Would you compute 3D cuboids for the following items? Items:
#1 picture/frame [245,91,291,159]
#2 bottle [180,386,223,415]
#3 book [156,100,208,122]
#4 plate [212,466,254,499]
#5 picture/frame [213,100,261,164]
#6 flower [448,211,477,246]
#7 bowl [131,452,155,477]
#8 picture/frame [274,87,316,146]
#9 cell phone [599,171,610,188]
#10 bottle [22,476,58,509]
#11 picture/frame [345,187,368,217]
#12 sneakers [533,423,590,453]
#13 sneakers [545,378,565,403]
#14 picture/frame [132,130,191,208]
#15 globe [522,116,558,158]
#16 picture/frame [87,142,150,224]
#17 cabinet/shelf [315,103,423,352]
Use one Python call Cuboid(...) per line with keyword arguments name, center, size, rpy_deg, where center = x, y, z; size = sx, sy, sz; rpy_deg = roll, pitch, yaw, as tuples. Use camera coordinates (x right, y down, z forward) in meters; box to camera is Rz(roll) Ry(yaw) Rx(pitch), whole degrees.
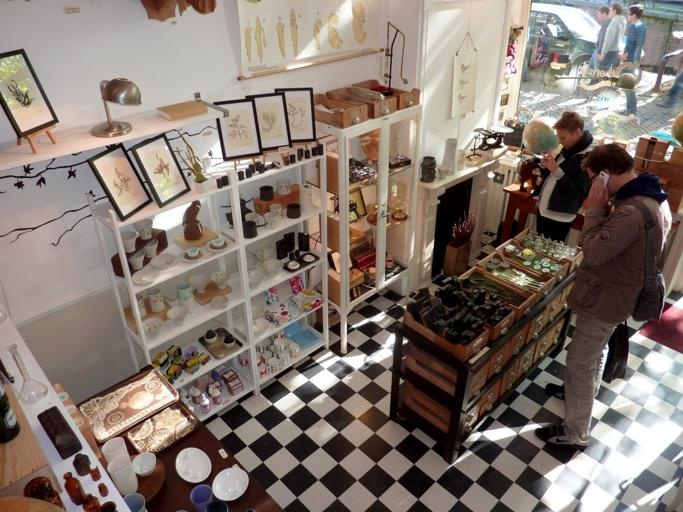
Cuboid(name="picture/frame", center=(-0.659, -1.177, 4.146), size=(0.528, 0.610, 0.033), rpy_deg=(-21, 36, -20))
Cuboid(name="bottle", center=(-1.337, 1.275, 4.440), size=(0.319, 0.132, 0.315), rpy_deg=(5, 37, -4))
Cuboid(name="book", center=(-1.221, -1.123, 3.630), size=(0.343, 0.057, 0.285), rpy_deg=(-25, 41, -29))
Cuboid(name="plate", center=(-0.739, 1.510, 3.112), size=(0.217, 0.069, 0.227), rpy_deg=(20, 41, 29))
Cuboid(name="picture/frame", center=(-0.895, -1.087, 4.038), size=(0.454, 0.586, 0.045), rpy_deg=(-17, 35, -18))
Cuboid(name="flower", center=(1.579, -0.369, 6.167), size=(0.268, 0.303, 0.268), rpy_deg=(-31, 48, -15))
Cuboid(name="bowl", center=(-1.300, 1.377, 3.111), size=(0.137, 0.062, 0.136), rpy_deg=(1, 44, -1))
Cuboid(name="picture/frame", center=(-0.432, -1.264, 4.250), size=(0.499, 0.645, 0.051), rpy_deg=(-13, 37, -16))
Cuboid(name="cell phone", center=(2.127, -0.611, 3.794), size=(0.080, 0.109, 0.082), rpy_deg=(18, 40, 28))
Cuboid(name="bottle", center=(-1.268, 1.008, 2.006), size=(0.152, 0.098, 0.089), rpy_deg=(13, 37, 21))
Cuboid(name="picture/frame", center=(0.179, -0.587, 5.153), size=(0.064, 0.277, 0.264), rpy_deg=(1, 9, 31))
Cuboid(name="sneakers", center=(1.990, 1.656, 4.323), size=(0.501, 0.218, 0.187), rpy_deg=(11, 42, 18))
Cuboid(name="sneakers", center=(2.175, 1.367, 4.770), size=(0.248, 0.100, 0.114), rpy_deg=(9, 74, 24))
Cuboid(name="picture/frame", center=(-1.442, -0.679, 3.702), size=(0.038, 0.585, 0.494), rpy_deg=(-4, 28, 36))
Cuboid(name="globe", center=(2.120, -1.278, 5.236), size=(0.400, 0.465, 0.403), rpy_deg=(-16, 12, 2))
Cuboid(name="picture/frame", center=(-1.675, -0.560, 3.536), size=(0.038, 0.594, 0.444), rpy_deg=(-9, 23, 36))
Cuboid(name="cabinet/shelf", center=(0.265, -0.350, 5.017), size=(0.779, 3.037, 1.382), rpy_deg=(26, 44, 34))
